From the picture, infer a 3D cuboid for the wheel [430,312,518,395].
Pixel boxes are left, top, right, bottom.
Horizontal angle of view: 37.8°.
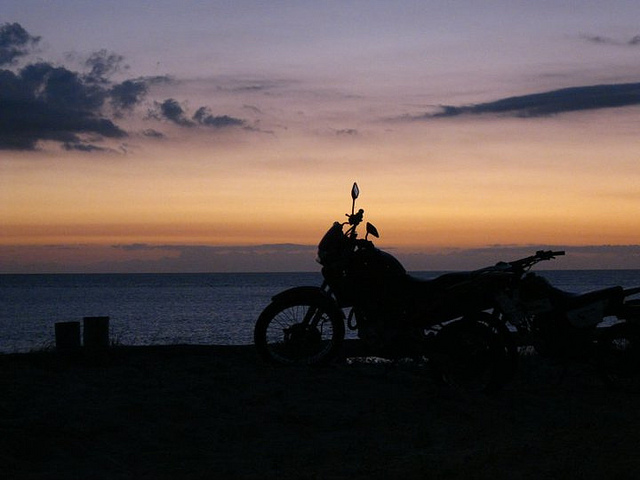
[{"bbox_3d":[2.168,1.556,12.885,1.355,1.105,0.291,-8,-11,7],"label":"wheel"}]
